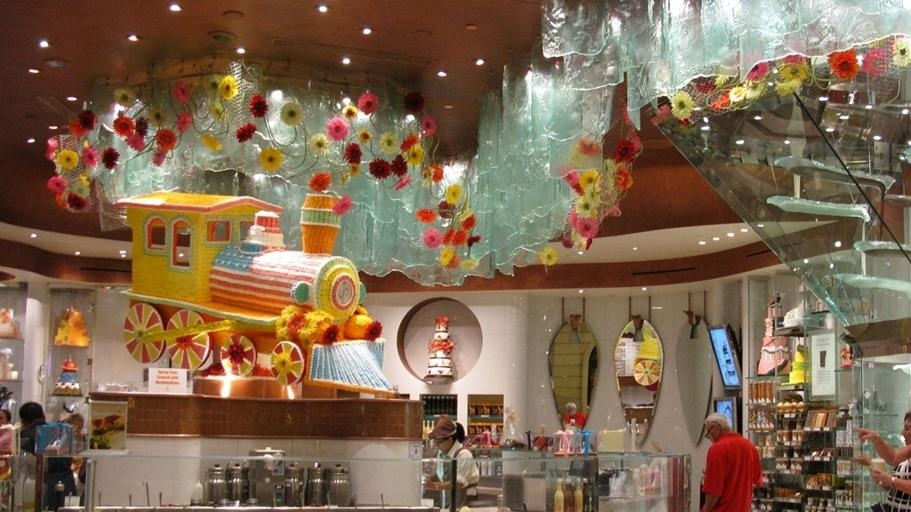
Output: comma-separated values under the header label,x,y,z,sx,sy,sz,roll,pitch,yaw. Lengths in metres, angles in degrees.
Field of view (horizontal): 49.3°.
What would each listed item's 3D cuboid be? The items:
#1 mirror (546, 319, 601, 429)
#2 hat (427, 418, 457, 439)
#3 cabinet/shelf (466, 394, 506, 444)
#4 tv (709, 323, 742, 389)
label,x,y,z,sx,sy,sz,roll,pitch,yaw
mirror,2.395,2.285,20.135,1.038,2.217,0.260,-3,-10,6
hat,-0.152,2.138,12.255,0.325,0.201,0.237,5,-11,0
cabinet/shelf,0.633,3.341,20.060,0.816,0.301,0.915,-5,20,7
tv,5.003,1.860,18.329,0.304,1.139,0.595,2,-11,-18
